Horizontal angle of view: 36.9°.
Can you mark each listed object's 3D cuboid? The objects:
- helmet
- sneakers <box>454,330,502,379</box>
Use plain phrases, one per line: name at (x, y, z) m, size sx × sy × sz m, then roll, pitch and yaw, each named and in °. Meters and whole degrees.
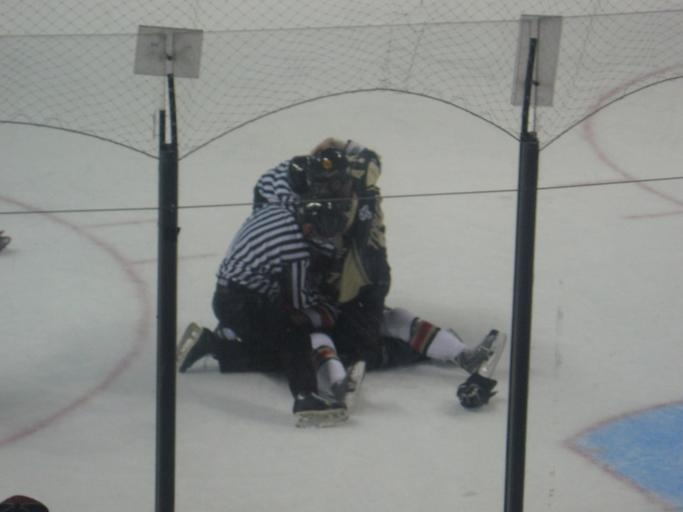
helmet at (-0.112, -0.385, 5.952) m, size 0.334 × 0.545 × 0.196 m, roll -1°, pitch -1°, yaw -3°
sneakers at (0.792, 0.577, 6.060) m, size 0.107 × 0.246 × 0.080 m, roll 27°, pitch 12°, yaw -49°
